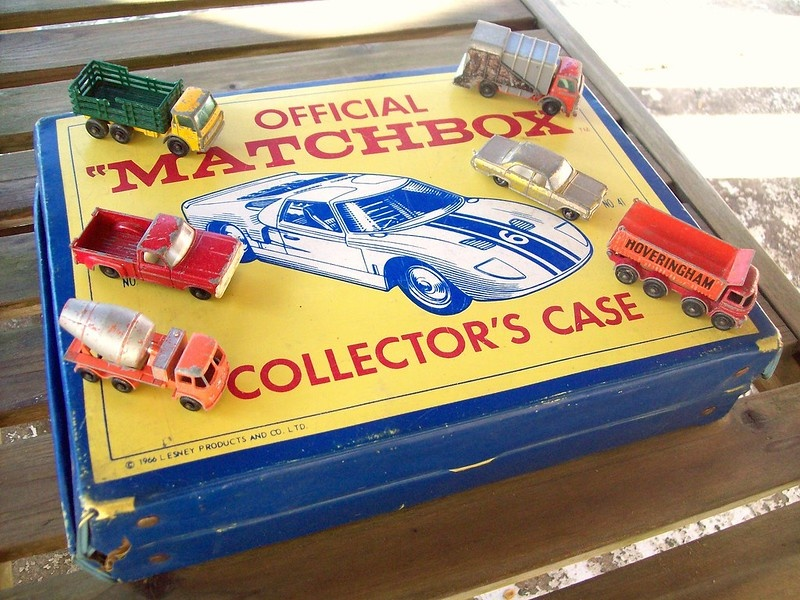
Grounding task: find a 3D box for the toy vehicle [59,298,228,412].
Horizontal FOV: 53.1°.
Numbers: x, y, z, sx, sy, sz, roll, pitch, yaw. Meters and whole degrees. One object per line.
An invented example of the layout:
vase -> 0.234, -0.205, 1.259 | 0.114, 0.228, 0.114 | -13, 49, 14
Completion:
toy vehicle -> -2.109, 0.419, 6.601 | 1.317, 0.607, 0.530 | 18, 47, 4
